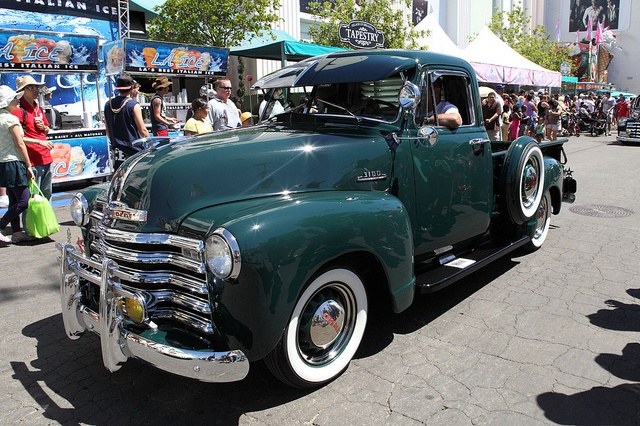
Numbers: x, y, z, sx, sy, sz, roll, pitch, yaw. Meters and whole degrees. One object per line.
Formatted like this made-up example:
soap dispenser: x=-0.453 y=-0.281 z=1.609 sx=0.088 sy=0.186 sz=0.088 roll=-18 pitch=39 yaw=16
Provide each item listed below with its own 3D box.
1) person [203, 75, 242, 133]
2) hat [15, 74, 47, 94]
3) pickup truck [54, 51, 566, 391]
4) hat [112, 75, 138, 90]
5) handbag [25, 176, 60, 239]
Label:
person: x=-1.761 y=-1.968 z=7.440 sx=0.508 sy=0.970 sz=0.858 roll=20 pitch=29 yaw=33
hat: x=-4.743 y=-2.035 z=6.519 sx=0.421 sy=0.180 sz=0.377 roll=-18 pitch=17 yaw=14
pickup truck: x=0.334 y=-0.130 z=4.527 sx=4.981 sy=2.039 sz=2.835 roll=-12 pitch=13 yaw=-39
hat: x=-3.261 y=-2.126 z=6.791 sx=0.289 sy=0.139 sz=0.289 roll=-22 pitch=46 yaw=-34
handbag: x=-4.492 y=-0.042 z=6.417 sx=0.480 sy=0.953 sz=0.398 roll=11 pitch=20 yaw=41
